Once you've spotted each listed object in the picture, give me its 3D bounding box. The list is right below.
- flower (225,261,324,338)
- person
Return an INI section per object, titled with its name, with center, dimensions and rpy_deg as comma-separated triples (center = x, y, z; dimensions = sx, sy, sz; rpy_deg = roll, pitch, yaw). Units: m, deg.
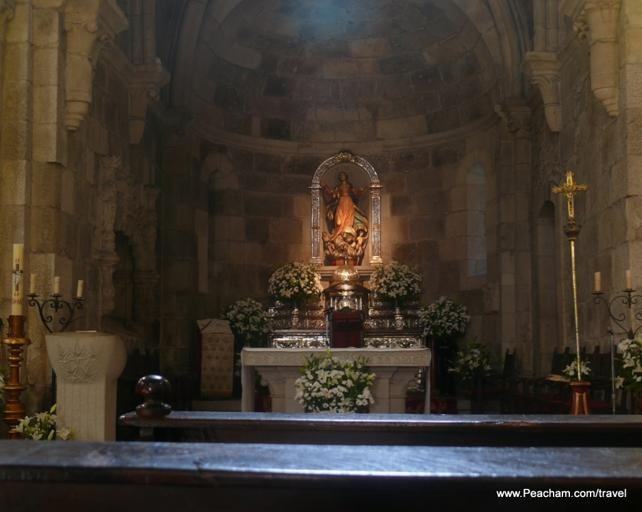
[flower]
center = -0.791, 0.789, 19.316
dimensions = 1.450, 1.000, 1.233
rpy_deg = 2, -4, -41
[person]
center = 0.428, -0.640, 20.726
dimensions = 0.771, 1.580, 0.419
rpy_deg = 1, -8, 1
